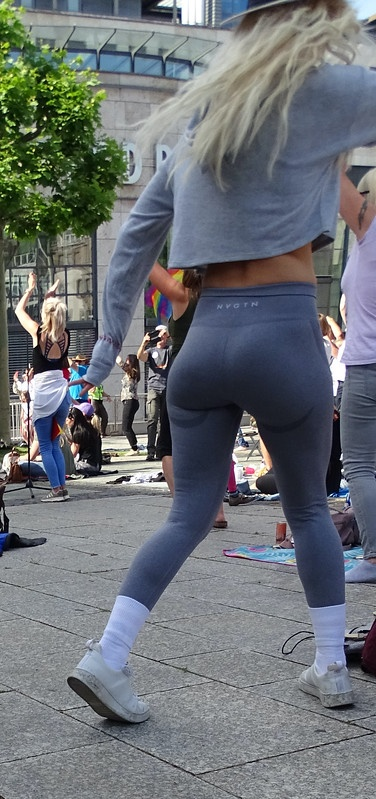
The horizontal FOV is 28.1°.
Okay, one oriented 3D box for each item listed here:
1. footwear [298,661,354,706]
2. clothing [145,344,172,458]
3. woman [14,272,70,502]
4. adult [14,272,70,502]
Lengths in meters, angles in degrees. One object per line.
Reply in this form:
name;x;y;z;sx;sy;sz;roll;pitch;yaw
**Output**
footwear;0.433;0.881;2.357;0.079;0.093;0.199;0;-1;-14
clothing;-0.612;-0.024;14.373;0.650;2.141;0.642;1;1;14
woman;-1.635;-0.077;8.570;0.557;2.451;1.016;-2;5;-12
adult;-1.637;-0.079;8.583;0.562;2.453;1.042;-2;5;-12
